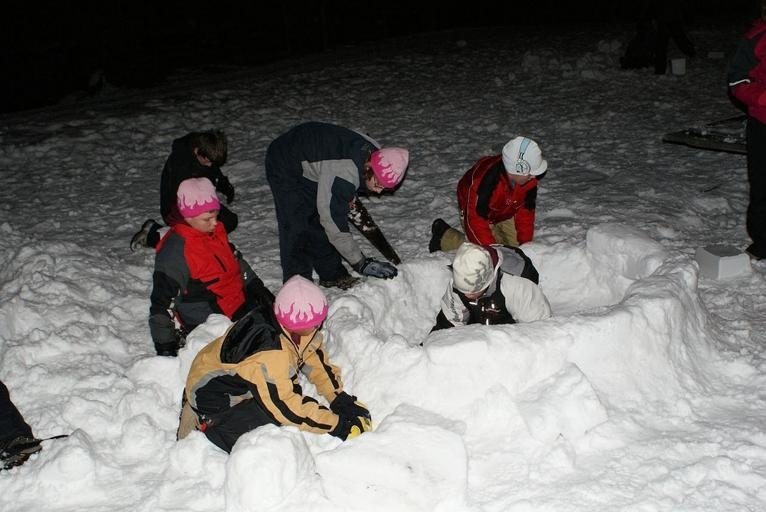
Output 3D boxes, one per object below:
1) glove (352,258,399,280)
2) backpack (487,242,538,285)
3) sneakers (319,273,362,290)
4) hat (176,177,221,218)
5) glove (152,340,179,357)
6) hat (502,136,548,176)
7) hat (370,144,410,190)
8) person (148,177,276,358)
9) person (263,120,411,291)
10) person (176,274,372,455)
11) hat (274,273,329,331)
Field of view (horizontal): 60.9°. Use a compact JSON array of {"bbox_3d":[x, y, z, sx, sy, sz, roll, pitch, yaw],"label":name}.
[{"bbox_3d":[-0.052,0.123,5.748,0.372,0.167,0.090,14,-3,14],"label":"glove"},{"bbox_3d":[1.192,0.066,5.463,0.302,0.294,0.217,-17,32,37],"label":"backpack"},{"bbox_3d":[-0.413,0.249,6.224,0.306,0.103,0.161,-8,0,19],"label":"sneakers"},{"bbox_3d":[-1.520,-0.476,5.283,0.361,0.260,0.296,1,20,-1],"label":"hat"},{"bbox_3d":[-1.736,0.758,5.277,0.157,0.122,0.142,-3,11,-11],"label":"glove"},{"bbox_3d":[1.242,-0.912,5.815,0.498,0.271,0.330,9,34,7],"label":"hat"},{"bbox_3d":[0.067,-0.770,5.427,0.375,0.157,0.473,26,42,-19],"label":"hat"},{"bbox_3d":[-1.462,0.139,5.534,0.982,1.294,1.054,19,46,14],"label":"person"},{"bbox_3d":[-0.429,-0.384,5.968,1.473,1.502,0.932,14,57,-2],"label":"person"},{"bbox_3d":[-0.773,1.016,4.831,1.479,1.464,0.745,8,22,-2],"label":"person"},{"bbox_3d":[-0.590,0.275,4.613,0.417,0.175,0.499,5,36,-9],"label":"hat"}]
